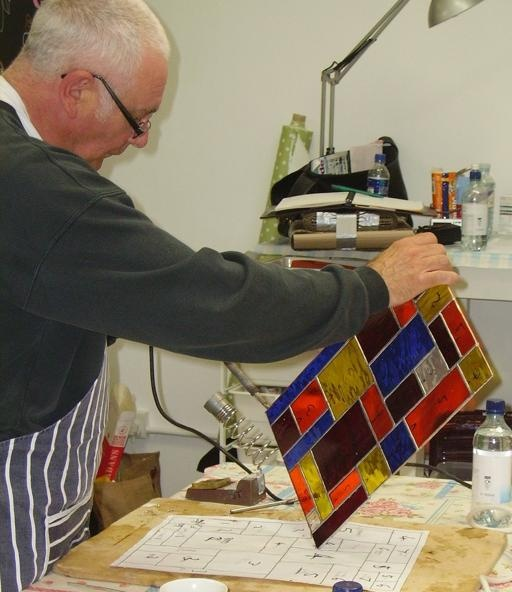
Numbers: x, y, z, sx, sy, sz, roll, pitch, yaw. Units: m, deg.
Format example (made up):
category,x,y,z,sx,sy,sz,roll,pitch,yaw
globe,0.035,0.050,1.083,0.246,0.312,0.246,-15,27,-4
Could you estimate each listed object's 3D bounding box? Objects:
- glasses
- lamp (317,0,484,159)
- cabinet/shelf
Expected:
category,x,y,z,sx,sy,sz,roll,pitch,yaw
glasses,-0.187,-0.246,0.771,0.017,0.059,0.060,-48,21,-24
lamp,0.593,-0.856,2.290,0.737,0.255,0.781,-3,-24,11
cabinet/shelf,0.092,0.099,0.793,0.370,0.282,0.086,11,3,28
